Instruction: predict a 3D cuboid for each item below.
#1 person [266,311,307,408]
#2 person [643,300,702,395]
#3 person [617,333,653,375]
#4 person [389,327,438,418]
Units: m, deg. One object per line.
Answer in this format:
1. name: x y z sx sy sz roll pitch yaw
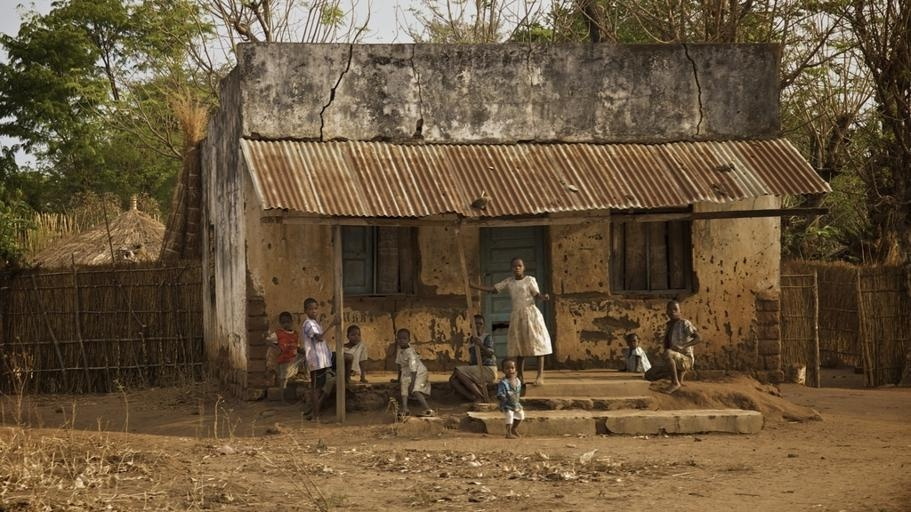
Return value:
1. person: -4.251 2.407 32.704 0.825 1.914 0.496 1 24 1
2. person: 5.414 2.270 32.572 1.250 2.137 0.682 -15 14 -30
3. person: 4.574 2.482 33.146 0.791 0.892 0.646 -1 -3 30
4. person: -1.081 2.851 32.219 0.830 1.983 1.024 -7 12 4
